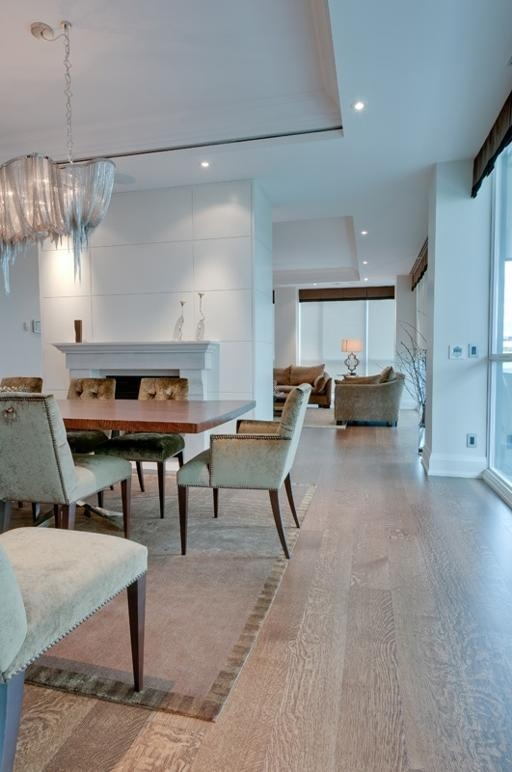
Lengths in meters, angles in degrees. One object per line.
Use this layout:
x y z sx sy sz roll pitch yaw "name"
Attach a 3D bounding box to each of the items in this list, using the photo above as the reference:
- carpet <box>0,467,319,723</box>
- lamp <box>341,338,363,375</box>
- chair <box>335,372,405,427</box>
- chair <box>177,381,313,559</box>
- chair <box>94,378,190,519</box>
-0.342 0.885 2.334 0.850 0.033 2.229 7 -7 8 "carpet"
2.010 -0.596 10.793 0.405 0.755 1.349 0 3 10 "lamp"
1.566 0.183 7.199 0.811 0.729 0.885 2 9 17 "chair"
-0.036 0.373 2.565 0.564 0.814 0.587 2 7 6 "chair"
-0.681 0.349 3.111 0.392 0.799 0.541 -1 0 3 "chair"
